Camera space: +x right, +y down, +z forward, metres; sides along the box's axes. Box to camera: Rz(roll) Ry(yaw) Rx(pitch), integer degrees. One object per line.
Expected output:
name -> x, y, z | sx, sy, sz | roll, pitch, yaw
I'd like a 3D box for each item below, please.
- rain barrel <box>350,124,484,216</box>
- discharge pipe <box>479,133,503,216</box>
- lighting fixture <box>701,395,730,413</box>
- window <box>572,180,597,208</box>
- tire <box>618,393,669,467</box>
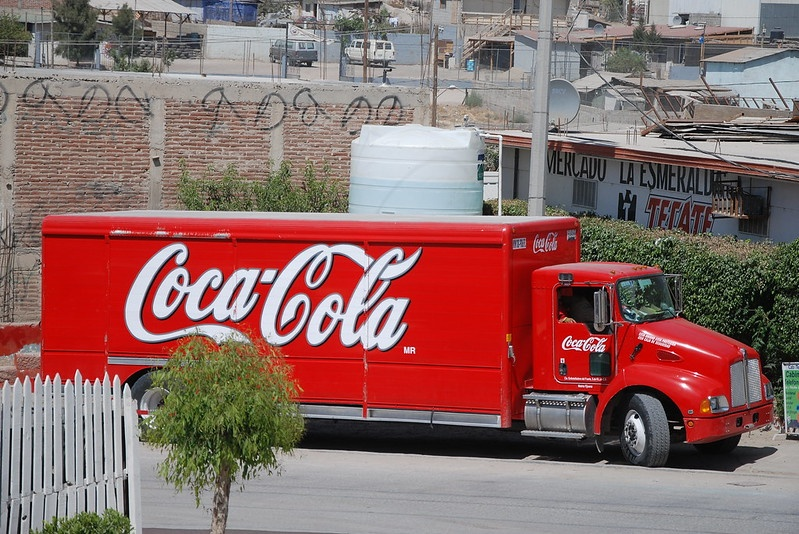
rain barrel -> 0.430, -2.524, 35.706 | 2.505, 2.057, 2.640 | 0, 2, 0
discharge pipe -> 3.090, -3.267, 44.035 | 0.876, 3.142, 0.238 | 14, 49, 18
lighting fixture -> 6.869, 3.004, 28.588 | 0.470, 0.353, 0.382 | -5, -5, 2
window -> 6.587, -2.580, 46.704 | 0.338, 0.964, 0.985 | 3, -2, -27
tire -> 5.415, 3.574, 29.066 | 0.606, 1.702, 1.449 | 0, -6, -34
